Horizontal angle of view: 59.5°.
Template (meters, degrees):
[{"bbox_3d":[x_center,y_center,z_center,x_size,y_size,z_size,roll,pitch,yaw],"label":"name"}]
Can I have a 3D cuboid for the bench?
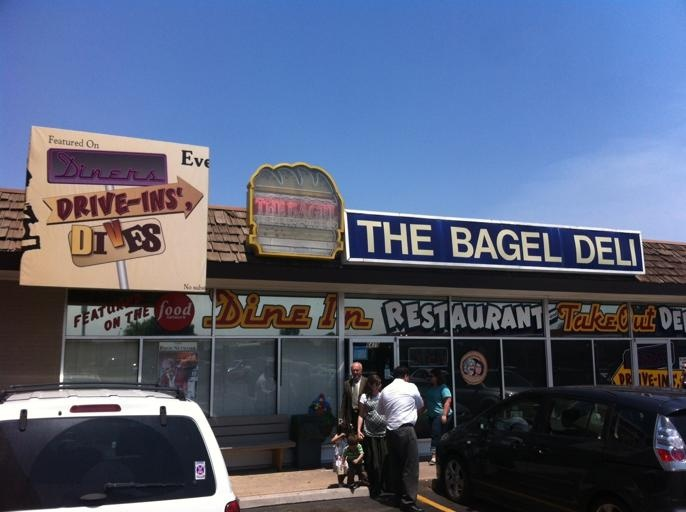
[{"bbox_3d":[-1.819,3.715,11.971,1.710,0.861,0.574,9,4,-35],"label":"bench"}]

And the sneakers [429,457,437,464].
[{"bbox_3d":[1.888,4.340,12.822,0.188,0.225,0.556,-1,-18,8],"label":"sneakers"}]
